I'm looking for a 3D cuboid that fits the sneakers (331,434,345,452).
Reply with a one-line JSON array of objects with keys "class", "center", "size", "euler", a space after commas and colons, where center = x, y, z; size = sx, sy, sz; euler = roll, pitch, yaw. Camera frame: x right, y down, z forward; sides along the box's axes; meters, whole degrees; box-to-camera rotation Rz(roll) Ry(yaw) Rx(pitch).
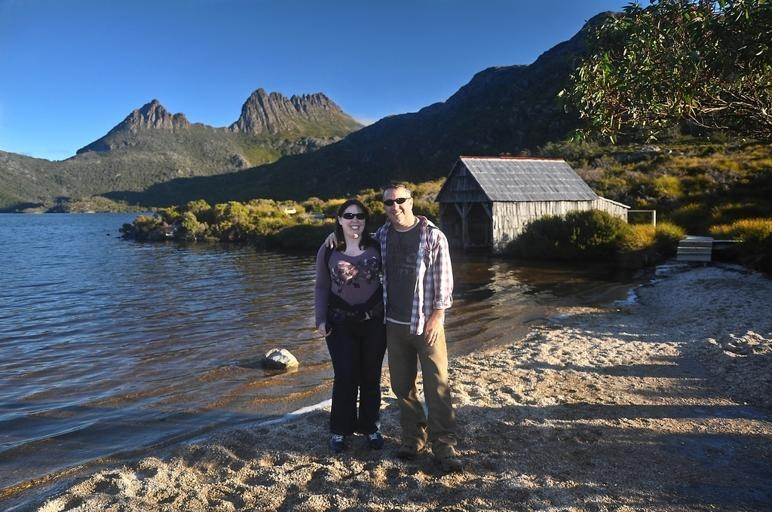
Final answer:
[{"class": "sneakers", "center": [-0.775, 3.073, 8.845], "size": [0.136, 0.152, 0.376], "euler": [11, -18, -12]}]
